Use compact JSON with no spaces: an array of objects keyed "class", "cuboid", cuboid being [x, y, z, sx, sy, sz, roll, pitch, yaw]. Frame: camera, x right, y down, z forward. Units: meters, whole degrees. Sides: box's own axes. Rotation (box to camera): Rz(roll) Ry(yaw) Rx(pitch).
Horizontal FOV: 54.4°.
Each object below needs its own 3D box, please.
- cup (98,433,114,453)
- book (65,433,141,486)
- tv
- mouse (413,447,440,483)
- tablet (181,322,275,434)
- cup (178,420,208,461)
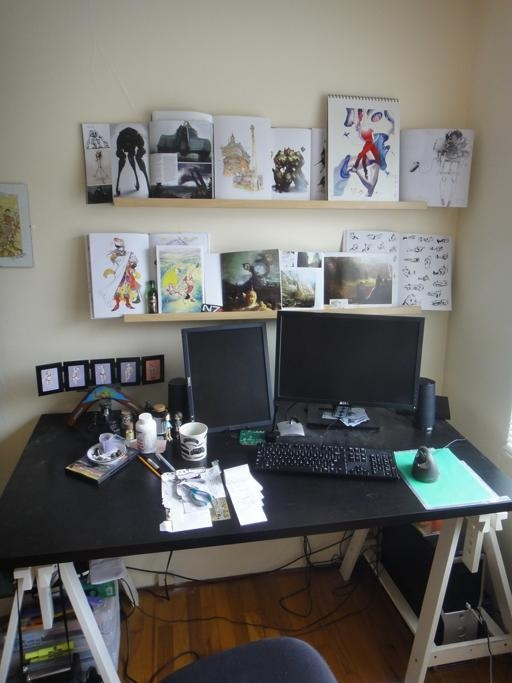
[{"class":"cup","cuboid":[-0.481,0.323,1.598,0.037,0.059,0.059,1,8,-37]},{"class":"book","cuboid":[-0.481,0.356,1.602,0.214,0.110,0.210,-8,21,-32]},{"class":"tv","cuboid":[0.335,0.100,1.787,0.427,0.359,0.043,2,12,4]},{"class":"mouse","cuboid":[0.504,0.375,1.534,0.084,0.095,0.084,-7,15,-11]},{"class":"tablet","cuboid":[-0.099,0.133,1.790,0.301,0.377,0.013,-6,8,-14]},{"class":"cup","cuboid":[-0.199,0.320,1.643,0.089,0.097,0.114,4,25,3]}]
